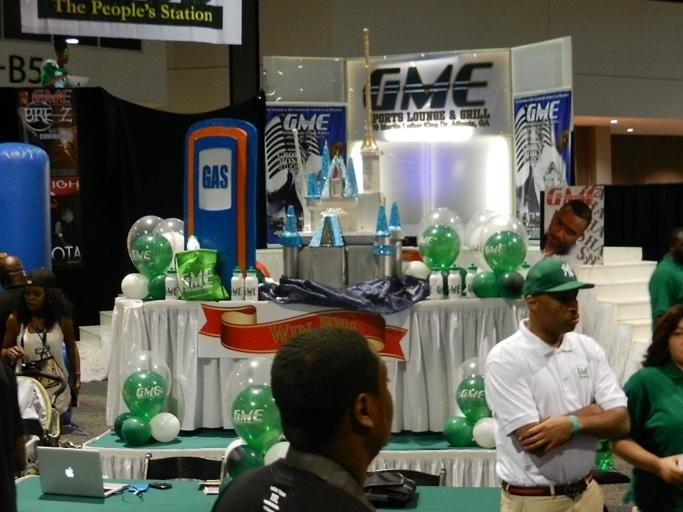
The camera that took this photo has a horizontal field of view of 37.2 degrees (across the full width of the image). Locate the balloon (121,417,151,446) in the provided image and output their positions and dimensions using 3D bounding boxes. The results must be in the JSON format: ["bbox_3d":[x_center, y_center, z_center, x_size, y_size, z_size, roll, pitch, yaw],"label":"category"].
[{"bbox_3d":[-1.943,1.642,9.548,0.205,0.287,0.297,0,33,-1],"label":"balloon"}]

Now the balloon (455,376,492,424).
[{"bbox_3d":[1.226,1.322,9.460,0.290,0.503,0.350,0,-7,1],"label":"balloon"}]

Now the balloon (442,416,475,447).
[{"bbox_3d":[1.098,1.636,9.496,0.207,0.345,0.254,-6,22,1],"label":"balloon"}]

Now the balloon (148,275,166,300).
[{"bbox_3d":[-1.846,0.300,10.228,0.174,0.288,0.205,2,1,-5],"label":"balloon"}]

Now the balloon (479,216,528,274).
[{"bbox_3d":[1.629,-0.125,10.221,0.387,0.701,0.494,3,-25,-7],"label":"balloon"}]

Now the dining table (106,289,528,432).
[{"bbox_3d":[-0.288,0.960,10.232,2.399,1.026,1.917,0,2,-3],"label":"dining table"}]

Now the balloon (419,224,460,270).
[{"bbox_3d":[0.975,-0.090,10.453,0.341,0.739,0.406,1,1,-5],"label":"balloon"}]

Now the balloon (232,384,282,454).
[{"bbox_3d":[-0.738,1.423,9.017,0.413,0.705,0.497,-1,0,-6],"label":"balloon"}]

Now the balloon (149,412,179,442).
[{"bbox_3d":[-1.694,1.619,9.698,0.209,0.348,0.252,4,4,3],"label":"balloon"}]

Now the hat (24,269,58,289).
[{"bbox_3d":[-2.975,0.227,10.086,0.152,0.187,0.237,5,-9,35],"label":"hat"}]

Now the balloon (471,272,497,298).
[{"bbox_3d":[1.413,0.275,9.980,0.184,0.305,0.223,-1,1,6],"label":"balloon"}]

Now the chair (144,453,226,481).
[{"bbox_3d":[-1.383,1.840,8.857,0.363,0.227,0.311,3,-2,0],"label":"chair"}]

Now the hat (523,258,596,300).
[{"bbox_3d":[1.601,0.158,7.689,0.373,0.249,0.286,-4,-3,36],"label":"hat"}]

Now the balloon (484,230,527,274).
[{"bbox_3d":[1.621,-0.091,10.141,0.326,0.525,0.380,0,11,-11],"label":"balloon"}]

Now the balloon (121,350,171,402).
[{"bbox_3d":[-1.874,1.117,9.798,0.345,0.563,0.392,0,1,-10],"label":"balloon"}]

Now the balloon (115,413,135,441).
[{"bbox_3d":[-2.122,1.622,9.759,0.169,0.283,0.205,2,-2,7],"label":"balloon"}]

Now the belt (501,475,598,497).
[{"bbox_3d":[1.550,1.711,7.602,0.684,0.137,0.138,0,4,3],"label":"belt"}]
